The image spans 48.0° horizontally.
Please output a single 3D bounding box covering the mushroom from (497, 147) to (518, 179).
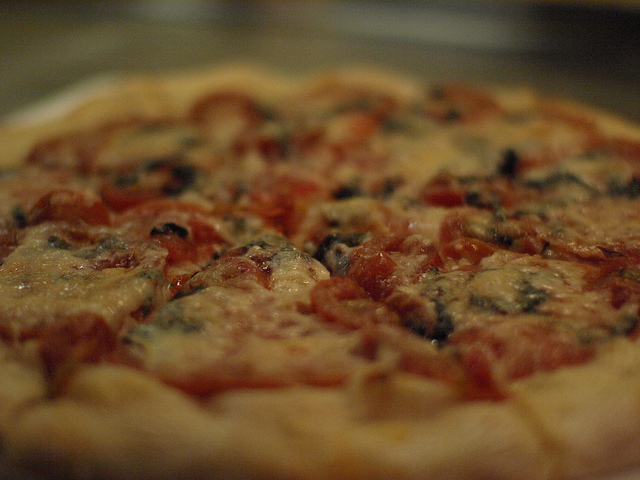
[{"bbox_3d":[0.383,-0.157,1.452,0.040,0.014,0.055,2,78,10],"label":"mushroom"}]

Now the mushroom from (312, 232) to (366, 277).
[{"bbox_3d":[0.034,0.021,1.306,0.071,0.030,0.087,11,36,39],"label":"mushroom"}]

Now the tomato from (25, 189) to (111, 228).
[{"bbox_3d":[-0.464,-0.058,1.312,0.103,0.034,0.089,2,29,-7],"label":"tomato"}]

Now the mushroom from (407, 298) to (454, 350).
[{"bbox_3d":[0.184,0.132,1.145,0.067,0.017,0.069,33,61,19],"label":"mushroom"}]

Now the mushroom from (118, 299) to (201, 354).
[{"bbox_3d":[-0.256,0.145,1.128,0.114,0.018,0.068,-25,60,-17],"label":"mushroom"}]

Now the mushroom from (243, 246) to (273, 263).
[{"bbox_3d":[-0.107,0.028,1.255,0.045,0.012,0.034,30,60,18],"label":"mushroom"}]

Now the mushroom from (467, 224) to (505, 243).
[{"bbox_3d":[0.301,-0.011,1.308,0.055,0.016,0.030,14,21,26],"label":"mushroom"}]
